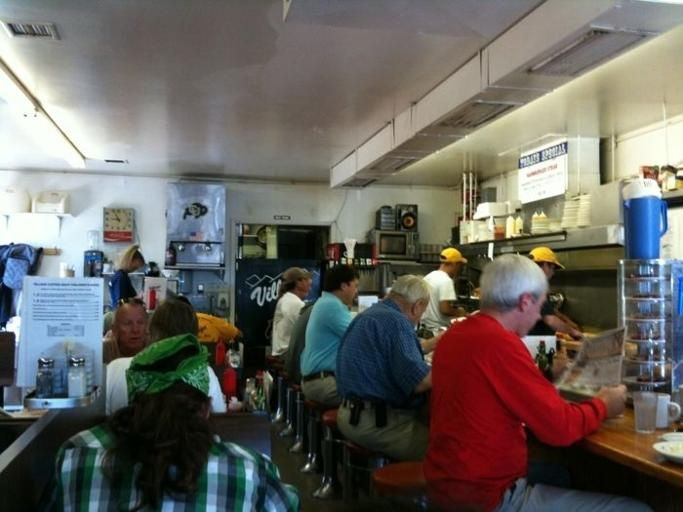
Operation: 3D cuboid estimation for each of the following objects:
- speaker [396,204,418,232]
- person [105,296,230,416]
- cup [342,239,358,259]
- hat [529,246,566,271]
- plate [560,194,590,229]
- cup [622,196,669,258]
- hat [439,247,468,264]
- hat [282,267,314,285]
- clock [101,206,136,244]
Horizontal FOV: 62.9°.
[{"bbox_3d":[1.065,-0.613,9.160,0.357,0.477,0.258,7,-12,-18],"label":"speaker"},{"bbox_3d":[-0.966,0.542,3.072,0.812,0.587,0.395,1,12,-11],"label":"person"},{"bbox_3d":[0.136,-0.094,8.840,0.196,0.333,0.183,0,-2,0],"label":"cup"},{"bbox_3d":[2.030,0.021,5.512,0.293,0.152,0.188,24,4,-14],"label":"hat"},{"bbox_3d":[2.612,-0.503,6.183,0.337,0.349,0.340,1,5,28],"label":"plate"},{"bbox_3d":[1.626,-0.141,2.914,0.261,0.326,0.170,0,-2,-7],"label":"cup"},{"bbox_3d":[1.337,-0.001,6.648,0.231,0.188,0.368,5,5,36],"label":"hat"},{"bbox_3d":[-0.486,0.223,6.036,0.236,0.113,0.166,-8,1,-8],"label":"hat"},{"bbox_3d":[-3.420,-0.467,8.513,0.567,0.681,0.238,1,-3,-8],"label":"clock"}]
